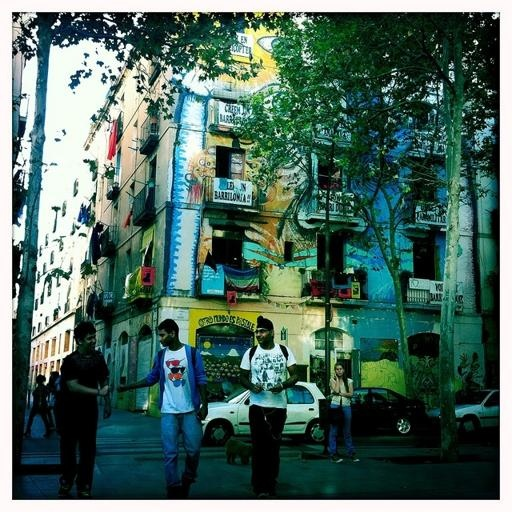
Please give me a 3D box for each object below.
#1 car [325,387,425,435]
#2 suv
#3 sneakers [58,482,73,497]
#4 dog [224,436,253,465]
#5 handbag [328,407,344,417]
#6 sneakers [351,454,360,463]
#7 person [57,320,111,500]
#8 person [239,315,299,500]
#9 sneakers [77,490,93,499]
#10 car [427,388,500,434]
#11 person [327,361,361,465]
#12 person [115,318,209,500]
[{"bbox_3d":[3.661,4.586,19.593,3.123,1.563,1.802,4,-12,-9],"label":"car"},{"bbox_3d":[0.129,3.938,16.298,2.730,1.386,1.640,4,-12,-11],"label":"suv"},{"bbox_3d":[-2.346,2.881,8.219,0.144,0.228,0.296,2,-5,-16],"label":"sneakers"},{"bbox_3d":[-0.251,3.518,11.923,0.260,0.536,0.973,5,-17,-21],"label":"dog"},{"bbox_3d":[1.514,3.021,12.765,0.257,0.230,0.144,1,-5,5],"label":"handbag"},{"bbox_3d":[1.844,3.838,12.474,0.092,0.124,0.282,-1,-19,3],"label":"sneakers"},{"bbox_3d":[-2.113,1.890,8.173,0.581,2.136,0.557,2,-5,-16],"label":"person"},{"bbox_3d":[0.150,1.889,8.332,0.705,2.229,0.389,1,-5,-1],"label":"person"},{"bbox_3d":[-2.070,2.883,8.049,0.114,0.075,0.117,-6,-12,38],"label":"sneakers"},{"bbox_3d":[6.146,4.552,19.376,2.115,1.005,1.324,7,-16,-18],"label":"car"},{"bbox_3d":[1.647,3.004,12.713,0.544,1.808,0.818,0,-5,7],"label":"person"},{"bbox_3d":[-0.992,1.887,8.143,0.815,2.187,0.640,1,-5,3],"label":"person"}]
